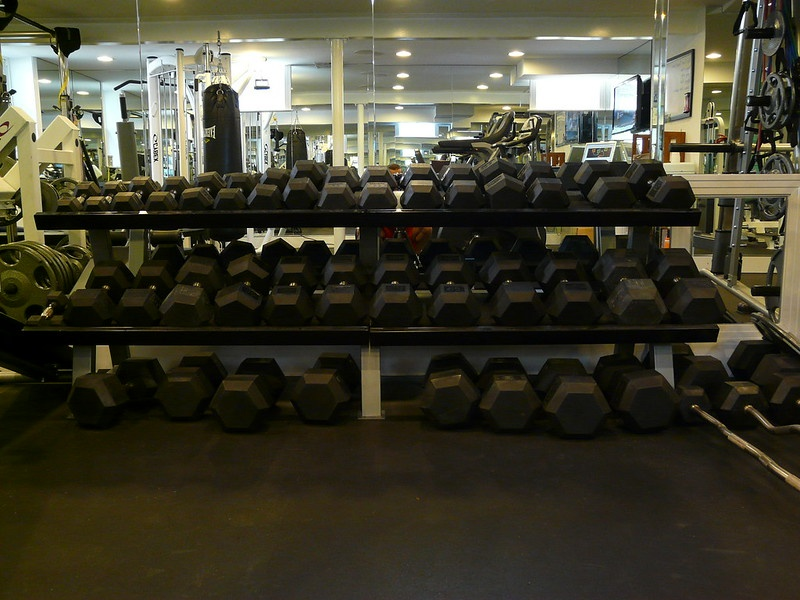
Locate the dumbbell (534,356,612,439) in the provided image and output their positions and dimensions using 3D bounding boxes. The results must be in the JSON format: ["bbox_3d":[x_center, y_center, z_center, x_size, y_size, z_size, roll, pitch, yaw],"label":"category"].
[{"bbox_3d":[0.712,0.406,2.684,0.254,0.246,0.363,1,18,1],"label":"dumbbell"}]

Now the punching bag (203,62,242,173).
[{"bbox_3d":[-1.375,-1.316,4.905,0.285,0.646,0.413,-5,18,-17],"label":"punching bag"}]

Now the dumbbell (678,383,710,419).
[{"bbox_3d":[1.205,0.417,2.643,0.123,0.124,0.143,0,4,6],"label":"dumbbell"}]

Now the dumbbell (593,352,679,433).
[{"bbox_3d":[1.010,0.405,2.757,0.250,0.246,0.427,-9,6,3],"label":"dumbbell"}]

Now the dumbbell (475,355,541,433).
[{"bbox_3d":[0.439,0.336,2.657,0.193,0.156,0.384,-1,5,6],"label":"dumbbell"}]

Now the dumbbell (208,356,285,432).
[{"bbox_3d":[-0.658,0.424,2.852,0.245,0.208,0.490,1,5,3],"label":"dumbbell"}]

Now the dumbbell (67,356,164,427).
[{"bbox_3d":[-1.216,0.389,2.742,0.255,0.186,0.412,-24,5,8],"label":"dumbbell"}]

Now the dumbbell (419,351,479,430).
[{"bbox_3d":[0.223,0.380,2.784,0.237,0.234,0.380,3,18,6],"label":"dumbbell"}]

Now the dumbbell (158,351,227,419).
[{"bbox_3d":[-0.907,0.299,2.811,0.223,0.192,0.394,0,5,-2],"label":"dumbbell"}]

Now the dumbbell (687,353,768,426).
[{"bbox_3d":[1.379,0.395,2.708,0.312,0.205,0.278,9,19,23],"label":"dumbbell"}]

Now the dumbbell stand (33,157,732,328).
[{"bbox_3d":[-0.033,-0.260,2.928,2.823,0.762,0.772,1,18,2],"label":"dumbbell stand"}]
